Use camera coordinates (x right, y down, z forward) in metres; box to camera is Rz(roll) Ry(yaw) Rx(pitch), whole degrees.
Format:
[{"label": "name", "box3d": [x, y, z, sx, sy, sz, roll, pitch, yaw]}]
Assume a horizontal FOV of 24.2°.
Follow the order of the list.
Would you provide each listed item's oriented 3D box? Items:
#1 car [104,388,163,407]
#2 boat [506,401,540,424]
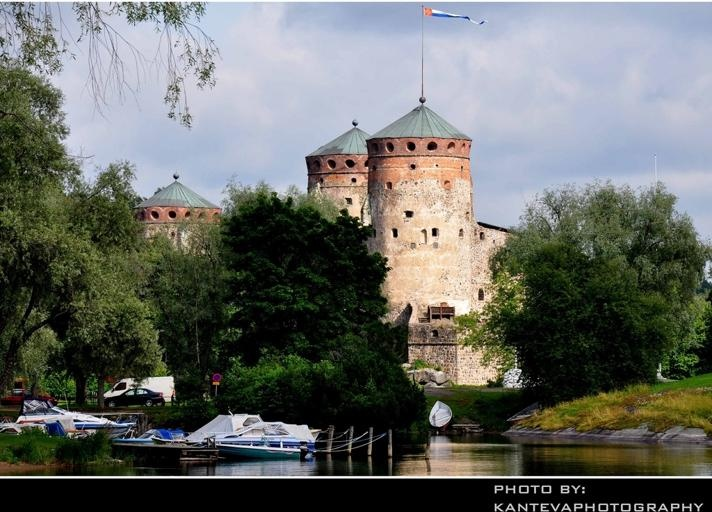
[{"label": "car", "box3d": [-13.113, 8.397, 98.437, 3.224, 1.082, 1.513, 2, -5, -5]}, {"label": "boat", "box3d": [9.145, 8.411, 89.881, 1.778, 1.165, 3.264, 0, 2, 5]}]
